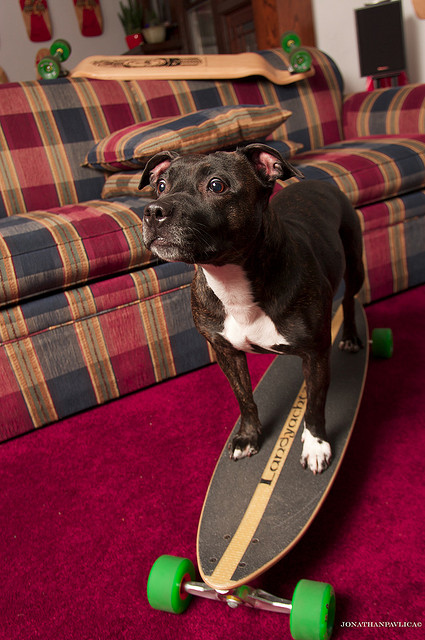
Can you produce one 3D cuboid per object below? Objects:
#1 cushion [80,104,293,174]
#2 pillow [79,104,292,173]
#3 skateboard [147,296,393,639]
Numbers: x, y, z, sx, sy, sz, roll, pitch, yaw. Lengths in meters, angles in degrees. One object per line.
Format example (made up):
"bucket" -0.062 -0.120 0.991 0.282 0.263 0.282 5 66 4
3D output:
"cushion" -0.055 -0.844 2.073 0.944 0.241 0.531 -20 14 -27
"pillow" -0.058 -0.837 2.071 0.906 0.235 0.529 -20 12 -28
"skateboard" 0.171 0.217 1.068 0.288 0.142 0.864 -1 30 28
